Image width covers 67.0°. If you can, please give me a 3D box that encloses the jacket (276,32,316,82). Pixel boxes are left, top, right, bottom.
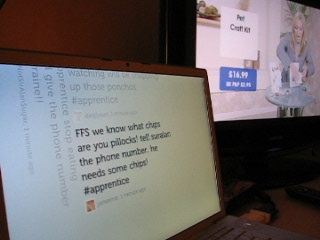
[{"bbox_3d":[0.589,-0.288,1.060,0.156,0.235,0.056,-1,1,-18],"label":"jacket"}]
